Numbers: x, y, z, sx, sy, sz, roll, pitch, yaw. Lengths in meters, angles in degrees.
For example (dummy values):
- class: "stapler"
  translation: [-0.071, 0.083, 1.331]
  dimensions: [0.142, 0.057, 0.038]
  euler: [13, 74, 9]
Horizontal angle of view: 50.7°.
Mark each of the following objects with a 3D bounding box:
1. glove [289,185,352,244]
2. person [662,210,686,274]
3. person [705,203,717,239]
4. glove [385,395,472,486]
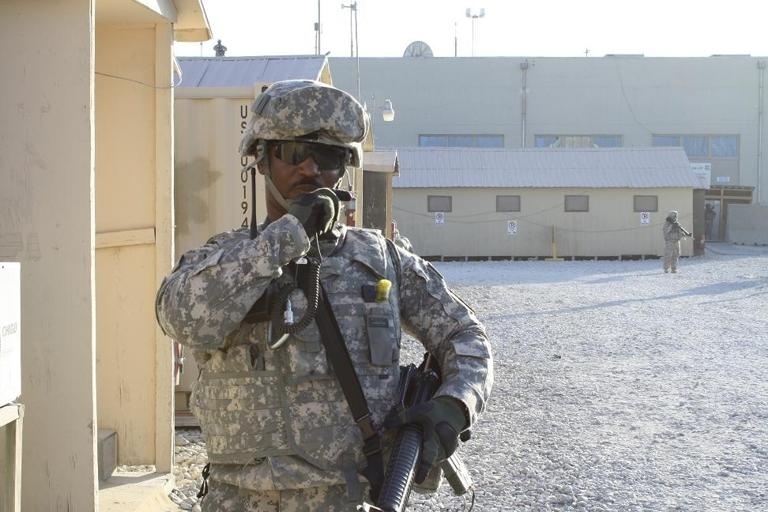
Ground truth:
- class: "glove"
  translation: [-0.357, -0.219, 4.281]
  dimensions: [0.145, 0.434, 0.140]
  euler: [-26, -31, 2]
- class: "person"
  translation: [7.446, -0.354, 20.897]
  dimensions: [0.514, 1.552, 2.162]
  euler: [2, 8, 20]
- class: "person"
  translation: [13.001, -1.413, 32.456]
  dimensions: [0.350, 1.432, 0.920]
  euler: [5, 9, 41]
- class: "glove"
  translation: [0.247, 0.878, 4.118]
  dimensions: [0.204, 0.309, 0.714]
  euler: [35, 0, -2]
